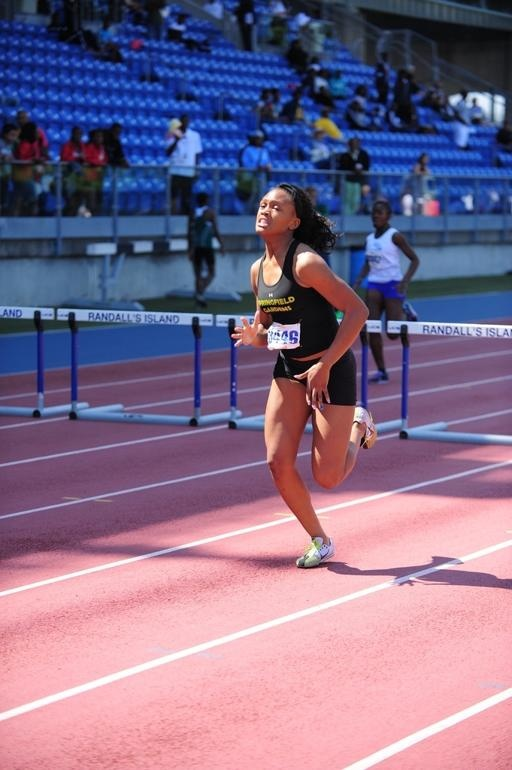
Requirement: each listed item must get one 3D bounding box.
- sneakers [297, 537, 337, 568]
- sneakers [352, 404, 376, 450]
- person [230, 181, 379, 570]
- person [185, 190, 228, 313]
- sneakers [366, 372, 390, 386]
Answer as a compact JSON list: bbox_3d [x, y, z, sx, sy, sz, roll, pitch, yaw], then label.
[{"bbox_3d":[0.292,0.811,4.080,0.087,0.108,0.244,2,10,39],"label":"sneakers"},{"bbox_3d":[0.550,0.200,4.204,0.103,0.262,0.120,-3,42,18],"label":"sneakers"},{"bbox_3d":[0.192,-0.014,3.842,0.624,1.819,0.661,0,5,4],"label":"person"},{"bbox_3d":[-1.047,-2.746,16.785,0.630,2.299,0.801,-1,5,-8],"label":"person"},{"bbox_3d":[1.567,-0.108,10.648,0.137,0.142,0.365,-1,-3,27],"label":"sneakers"}]
